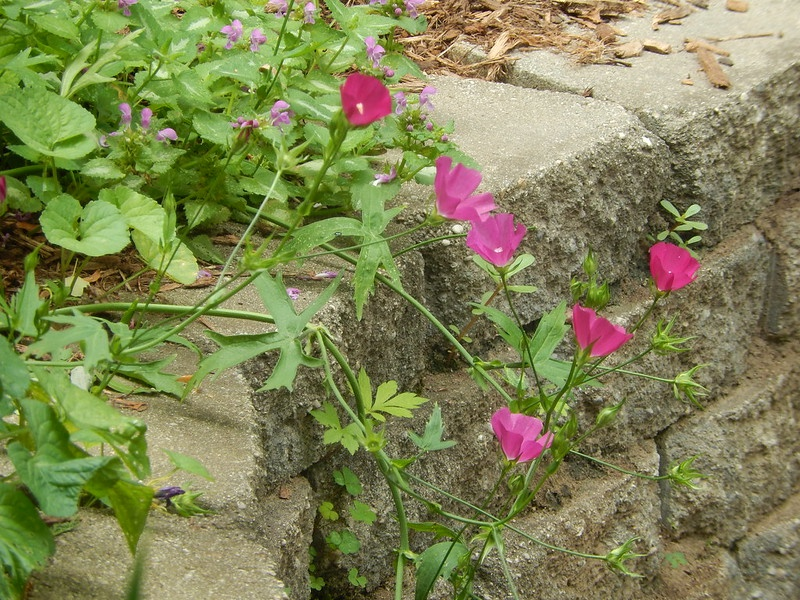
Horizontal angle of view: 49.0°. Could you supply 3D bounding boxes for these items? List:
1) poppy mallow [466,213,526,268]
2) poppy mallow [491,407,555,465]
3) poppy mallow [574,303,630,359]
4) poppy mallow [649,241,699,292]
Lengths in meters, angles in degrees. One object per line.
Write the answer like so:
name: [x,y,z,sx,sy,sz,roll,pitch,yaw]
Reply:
poppy mallow: [0.230,-0.130,2.055,0.132,0.148,0.099,-12,60,5]
poppy mallow: [0.263,0.309,2.016,0.132,0.092,0.128,17,20,-30]
poppy mallow: [0.389,0.071,1.841,0.126,0.067,0.123,19,18,23]
poppy mallow: [0.654,-0.090,2.084,0.114,0.079,0.117,-16,78,-26]
